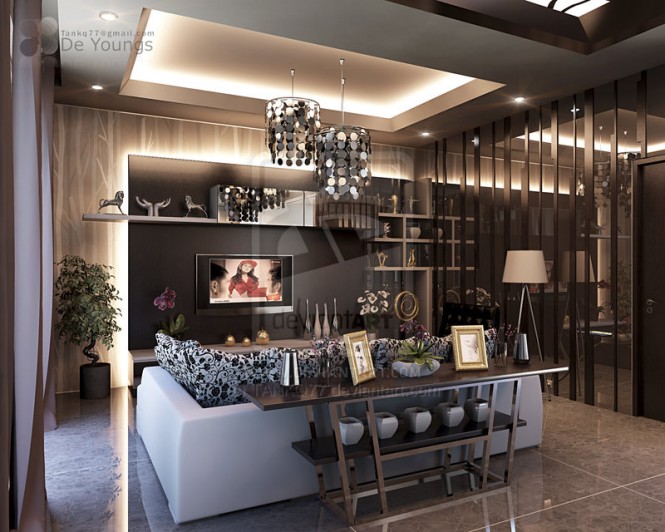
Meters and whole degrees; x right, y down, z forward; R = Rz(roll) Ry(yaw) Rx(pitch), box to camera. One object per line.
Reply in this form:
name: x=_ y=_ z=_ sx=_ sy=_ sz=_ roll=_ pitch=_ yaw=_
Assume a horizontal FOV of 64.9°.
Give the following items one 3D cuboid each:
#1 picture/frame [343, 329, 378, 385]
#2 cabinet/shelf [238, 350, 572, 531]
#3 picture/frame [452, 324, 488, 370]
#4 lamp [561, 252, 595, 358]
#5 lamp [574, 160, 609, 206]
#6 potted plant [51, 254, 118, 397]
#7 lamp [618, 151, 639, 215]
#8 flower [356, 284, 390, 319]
picture/frame: x=0.179 y=0.605 z=3.391 sx=0.051 sy=0.417 sz=0.325 roll=-16 pitch=-9 yaw=35
cabinet/shelf: x=0.426 y=1.081 z=3.296 sx=1.632 sy=0.684 sz=0.406 roll=-3 pitch=-3 yaw=-18
picture/frame: x=0.924 y=0.560 z=3.547 sx=0.266 sy=0.372 sz=0.035 roll=4 pitch=-14 yaw=-20
lamp: x=2.543 y=0.381 z=5.431 sx=0.082 sy=1.080 sz=0.384 roll=-1 pitch=1 yaw=-27
lamp: x=2.565 y=-0.819 z=5.257 sx=0.318 sy=0.380 sz=0.253 roll=-1 pitch=0 yaw=-12
potted plant: x=-2.558 y=0.636 z=5.512 sx=0.646 sy=1.213 sz=0.694 roll=-2 pitch=1 yaw=-29
lamp: x=2.851 y=-0.847 z=5.129 sx=0.126 sy=0.585 sz=0.190 roll=-6 pitch=26 yaw=22
flower: x=0.588 y=0.510 z=7.508 sx=0.534 sy=0.404 sz=0.117 roll=-2 pitch=1 yaw=-27
